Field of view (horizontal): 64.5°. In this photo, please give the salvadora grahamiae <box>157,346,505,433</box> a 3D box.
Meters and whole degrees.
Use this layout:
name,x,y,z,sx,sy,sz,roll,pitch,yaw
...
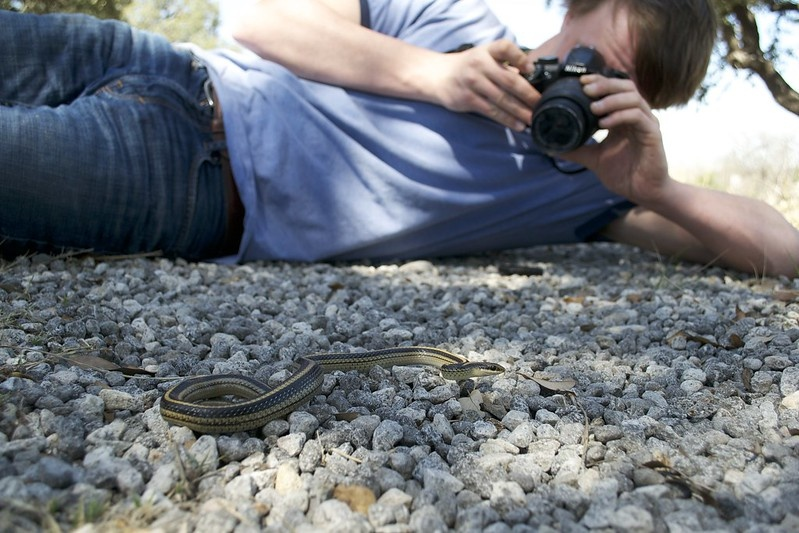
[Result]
name,x,y,z,sx,sy,sz,roll,pitch,yaw
salvadora grahamiae,-0.497,0.709,3.868,1.792,0.279,0.550,-5,29,-18
